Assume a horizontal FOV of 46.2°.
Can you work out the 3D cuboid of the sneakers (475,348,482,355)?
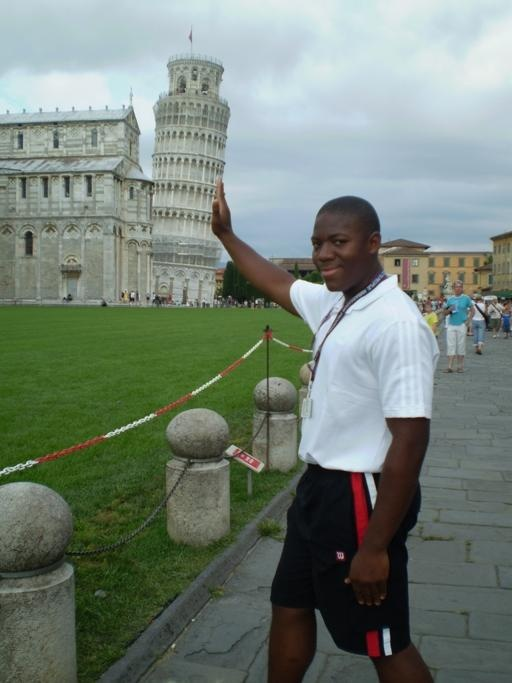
[{"bbox_3d":[7.164,0.274,19.300,0.123,0.130,0.353,-1,-4,15],"label":"sneakers"}]
